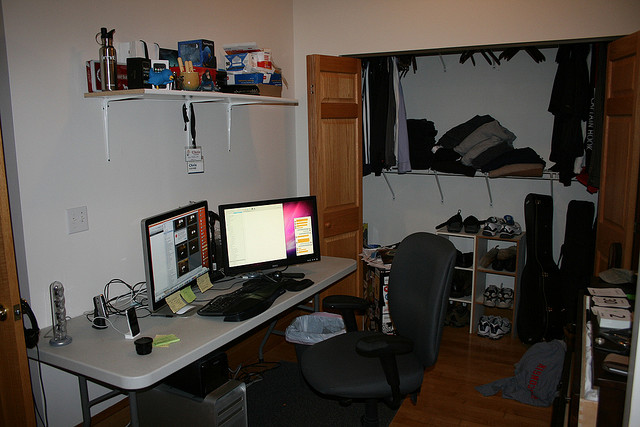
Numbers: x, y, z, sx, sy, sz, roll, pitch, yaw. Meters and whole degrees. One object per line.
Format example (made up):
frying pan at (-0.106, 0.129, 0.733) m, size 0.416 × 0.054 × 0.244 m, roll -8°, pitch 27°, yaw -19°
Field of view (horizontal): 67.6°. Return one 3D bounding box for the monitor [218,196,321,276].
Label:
monitor at (-0.388, 0.183, 3.623) m, size 0.579 × 0.401 × 0.151 m, roll -6°, pitch 9°, yaw -26°

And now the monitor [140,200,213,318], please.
monitor at (-0.936, 0.329, 3.154) m, size 0.214 × 0.663 × 0.672 m, roll 3°, pitch 11°, yaw 20°

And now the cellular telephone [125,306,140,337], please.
cellular telephone at (-1.144, 0.654, 2.913) m, size 0.059 × 0.154 × 0.103 m, roll -10°, pitch 13°, yaw -23°

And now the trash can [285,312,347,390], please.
trash can at (-0.023, 1.145, 3.997) m, size 0.555 × 0.508 × 0.477 m, roll -15°, pitch -18°, yaw -16°

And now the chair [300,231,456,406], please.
chair at (0.342, 0.847, 3.168) m, size 1.005 × 1.260 × 0.871 m, roll -3°, pitch 10°, yaw -6°

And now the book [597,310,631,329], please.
book at (1.650, 0.591, 2.692) m, size 0.162 × 0.059 × 0.143 m, roll 1°, pitch 13°, yaw 24°
